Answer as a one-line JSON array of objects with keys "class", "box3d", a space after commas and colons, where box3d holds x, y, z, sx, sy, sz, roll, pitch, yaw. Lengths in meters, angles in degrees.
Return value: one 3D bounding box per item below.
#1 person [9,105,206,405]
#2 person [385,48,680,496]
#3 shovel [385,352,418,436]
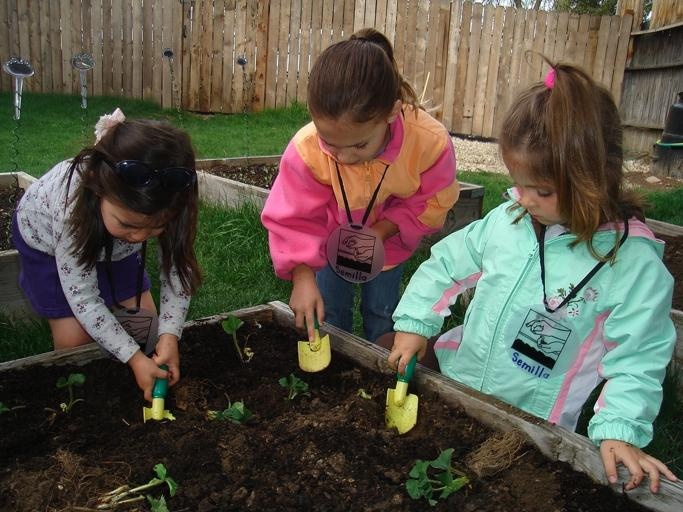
[{"class": "person", "box3d": [-1.108, -0.028, 2.612, 1.061, 1.370, 0.611, 14, 22, 27]}, {"class": "person", "box3d": [0.858, 0.020, 2.124, 1.115, 1.494, 0.751, 16, 23, 33]}, {"class": "shovel", "box3d": [0.262, 0.572, 2.160, 0.095, 0.051, 0.300, 9, 58, 10]}]
